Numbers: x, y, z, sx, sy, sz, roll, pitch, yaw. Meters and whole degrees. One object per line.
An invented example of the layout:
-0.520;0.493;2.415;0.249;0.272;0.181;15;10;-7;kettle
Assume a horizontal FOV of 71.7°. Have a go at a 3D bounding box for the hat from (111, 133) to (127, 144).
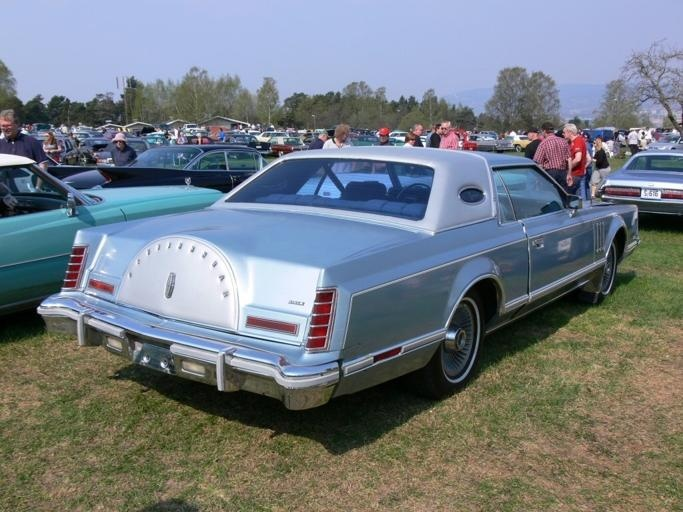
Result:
-5.200;-2.802;11.161;0.376;0.199;0.330;-16;12;-20;hat
